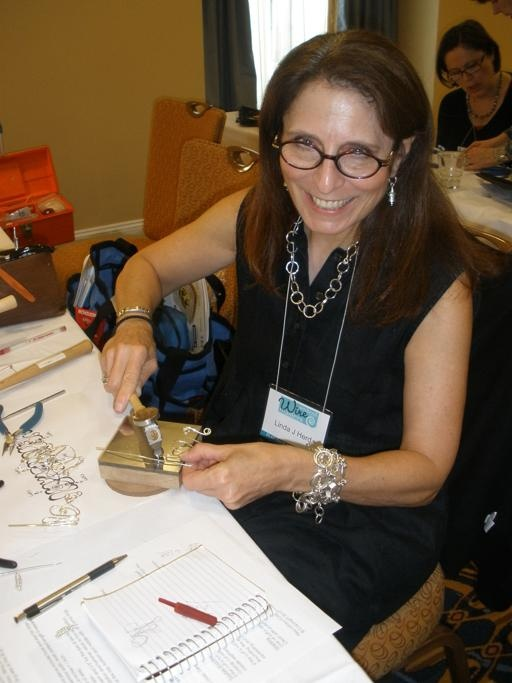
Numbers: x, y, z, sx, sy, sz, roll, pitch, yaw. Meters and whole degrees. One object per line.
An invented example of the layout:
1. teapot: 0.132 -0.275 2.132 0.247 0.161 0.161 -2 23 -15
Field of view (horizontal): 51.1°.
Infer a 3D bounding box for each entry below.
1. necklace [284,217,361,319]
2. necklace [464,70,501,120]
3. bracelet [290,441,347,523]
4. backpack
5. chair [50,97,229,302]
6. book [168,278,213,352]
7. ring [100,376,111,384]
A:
1. necklace: 0.116 -0.147 1.105 0.131 0.203 0.035 6 -12 19
2. necklace: 1.357 -1.476 3.183 0.232 0.332 0.049 4 6 31
3. bracelet: 0.107 0.240 0.880 0.053 0.128 0.101 8 6 4
4. backpack: -0.257 -0.023 1.361 0.293 0.382 0.396 -30 68 -37
5. chair: -0.484 -0.629 2.383 0.648 0.900 0.595 1 21 -28
6. book: -0.191 -0.087 1.654 0.157 0.214 0.074 3 6 43
7. ring: -0.272 0.069 0.974 0.017 0.016 0.021 5 -23 -4
